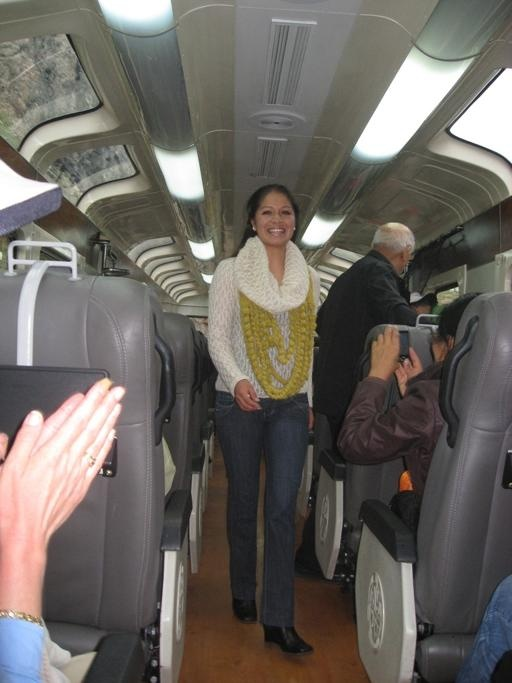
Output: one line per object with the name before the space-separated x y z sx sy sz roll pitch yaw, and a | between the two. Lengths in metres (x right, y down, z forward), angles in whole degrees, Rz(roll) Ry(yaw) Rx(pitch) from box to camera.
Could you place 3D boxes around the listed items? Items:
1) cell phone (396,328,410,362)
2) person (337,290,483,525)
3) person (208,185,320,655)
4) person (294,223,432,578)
cell phone | 0.693 0.016 2.143 0.100 0.120 0.025 -3 2 -19
person | 0.492 0.281 1.930 0.538 0.963 0.741 3 -8 -11
person | 0.021 0.320 2.312 0.574 2.360 0.477 2 -3 1
person | 0.970 0.484 3.905 0.914 3.022 0.944 6 2 13
